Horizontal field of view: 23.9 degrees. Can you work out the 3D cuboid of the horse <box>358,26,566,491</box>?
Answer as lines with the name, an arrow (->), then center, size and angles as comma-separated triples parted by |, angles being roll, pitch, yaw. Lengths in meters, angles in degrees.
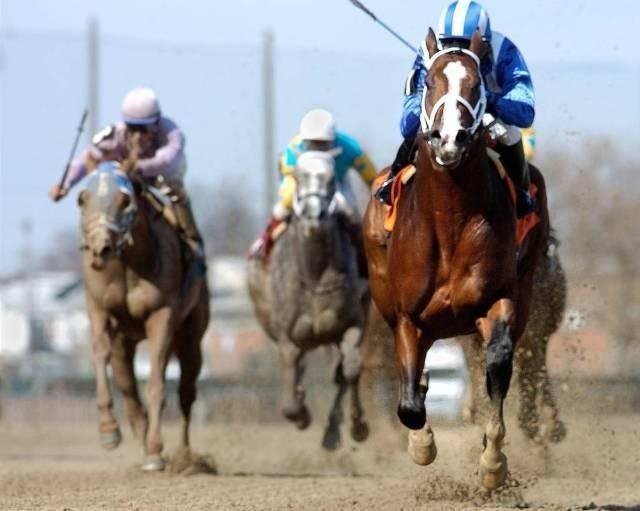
horse -> 0.875, 0.047, 9.388 | 1.004, 2.897, 1.210 | -2, 11, 3

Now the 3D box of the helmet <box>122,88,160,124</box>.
helmet -> -1.261, -1.047, 10.663 | 0.256, 0.244, 0.157 | -4, 11, -8

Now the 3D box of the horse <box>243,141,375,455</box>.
horse -> -0.073, 0.324, 11.212 | 0.852, 2.211, 0.575 | 0, 11, 11

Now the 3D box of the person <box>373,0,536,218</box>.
person -> 0.896, -0.910, 9.693 | 0.715, 1.067, 1.599 | 0, -14, 8

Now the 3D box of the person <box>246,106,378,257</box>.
person -> -0.013, -0.639, 11.372 | 0.745, 0.636, 1.208 | 4, -31, 0
